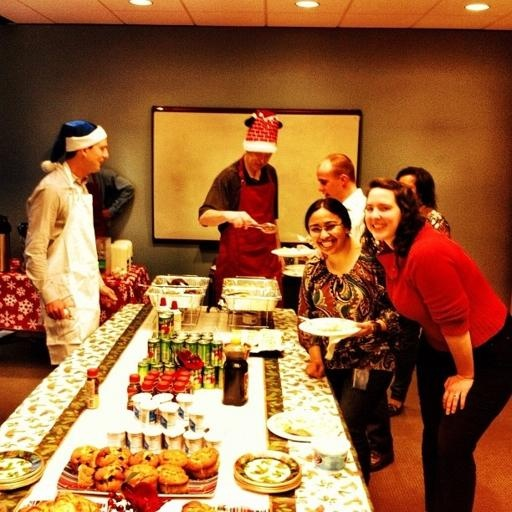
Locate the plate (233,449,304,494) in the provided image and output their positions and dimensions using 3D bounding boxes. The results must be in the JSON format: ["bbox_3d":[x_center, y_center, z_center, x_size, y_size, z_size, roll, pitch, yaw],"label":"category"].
[{"bbox_3d":[0.031,0.599,1.326,0.184,0.039,0.169,3,8,14],"label":"plate"}]

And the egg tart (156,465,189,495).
[{"bbox_3d":[-0.216,0.575,1.223,0.056,0.022,0.070,2,8,-4],"label":"egg tart"}]

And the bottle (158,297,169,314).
[{"bbox_3d":[-0.496,0.264,2.520,0.077,0.074,0.073,-1,3,-24],"label":"bottle"}]

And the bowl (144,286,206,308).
[{"bbox_3d":[-0.447,0.221,2.630,0.227,0.065,0.155,1,9,0],"label":"bowl"}]

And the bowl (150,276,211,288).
[{"bbox_3d":[-0.464,0.155,2.907,0.199,0.057,0.130,1,12,1],"label":"bowl"}]

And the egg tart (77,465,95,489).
[{"bbox_3d":[-0.432,0.562,1.217,0.052,0.046,0.013,-9,-15,19],"label":"egg tart"}]

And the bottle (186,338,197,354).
[{"bbox_3d":[-0.264,0.371,1.989,0.054,0.053,0.053,8,20,16],"label":"bottle"}]

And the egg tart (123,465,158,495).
[{"bbox_3d":[-0.288,0.553,1.199,0.069,0.035,0.065,-3,16,-24],"label":"egg tart"}]

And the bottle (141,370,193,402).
[{"bbox_3d":[-0.319,0.464,1.700,0.113,0.044,0.128,1,5,-3],"label":"bottle"}]

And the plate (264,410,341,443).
[{"bbox_3d":[0.166,0.569,1.622,0.262,0.031,0.198,1,8,-3],"label":"plate"}]

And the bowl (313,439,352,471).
[{"bbox_3d":[0.224,0.590,1.417,0.133,0.061,0.103,4,-1,-38],"label":"bowl"}]

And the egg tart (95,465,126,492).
[{"bbox_3d":[-0.371,0.563,1.215,0.062,0.056,0.018,6,-22,-15],"label":"egg tart"}]

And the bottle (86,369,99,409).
[{"bbox_3d":[-0.584,0.467,1.707,0.043,0.143,0.072,-2,9,-20],"label":"bottle"}]

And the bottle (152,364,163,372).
[{"bbox_3d":[-0.384,0.434,1.863,0.033,0.027,0.031,7,17,1],"label":"bottle"}]
